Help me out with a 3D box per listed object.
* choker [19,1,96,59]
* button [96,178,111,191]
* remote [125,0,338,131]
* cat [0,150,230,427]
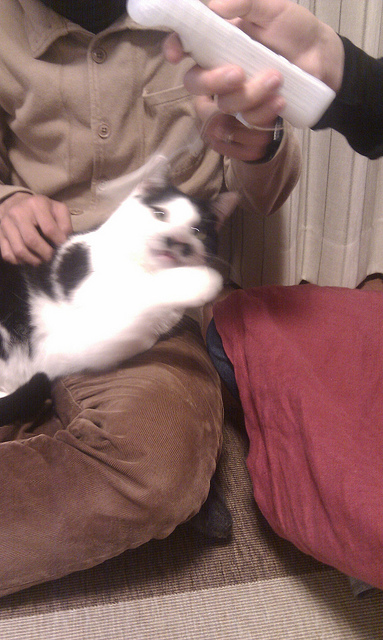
[{"bbox_3d":[-0.127,-0.273,0.548,0.058,0.019,0.043,4,90,-30],"label":"choker"},{"bbox_3d":[-0.086,-0.128,0.550,0.014,0.004,0.013,-4,76,15],"label":"button"},{"bbox_3d":[0.025,-0.221,0.507,0.203,0.063,0.043,28,58,-28],"label":"remote"},{"bbox_3d":[-0.086,-0.016,0.588,0.271,0.111,0.165,-35,67,7],"label":"cat"}]
